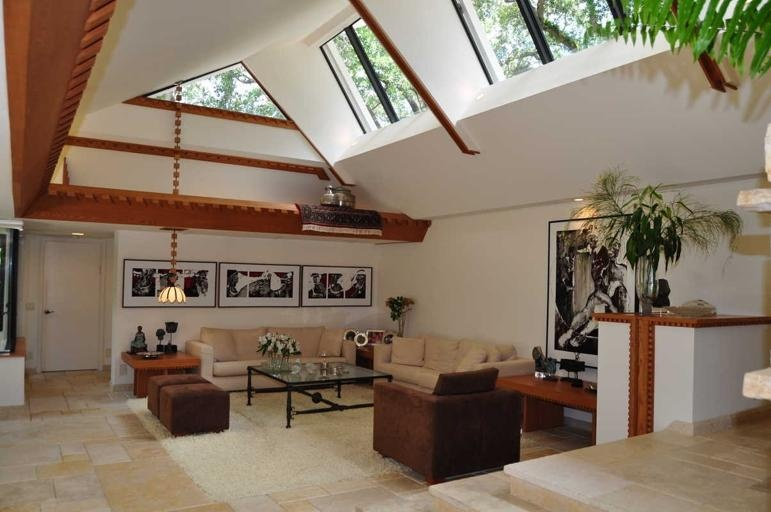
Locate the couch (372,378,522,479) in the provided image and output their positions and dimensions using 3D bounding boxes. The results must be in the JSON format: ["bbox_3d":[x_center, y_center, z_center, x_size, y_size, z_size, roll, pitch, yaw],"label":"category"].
[{"bbox_3d":[0.574,1.792,5.708,1.146,0.851,1.094,2,-2,-32],"label":"couch"}]

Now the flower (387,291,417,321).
[{"bbox_3d":[0.294,1.012,10.193,0.486,0.478,0.582,6,0,8],"label":"flower"}]

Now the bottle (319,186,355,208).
[{"bbox_3d":[-0.826,-0.996,8.942,0.443,0.273,0.432,1,-1,0],"label":"bottle"}]

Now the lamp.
[{"bbox_3d":[-3.554,-0.950,8.651,0.416,3.646,1.557,1,0,-22],"label":"lamp"}]

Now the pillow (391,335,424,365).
[{"bbox_3d":[0.390,1.712,9.211,0.484,0.330,0.184,-2,-7,28],"label":"pillow"}]

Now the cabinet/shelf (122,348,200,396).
[{"bbox_3d":[-3.679,1.815,8.385,0.903,0.515,0.886,2,-4,-29],"label":"cabinet/shelf"}]

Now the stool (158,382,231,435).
[{"bbox_3d":[-2.440,1.999,6.723,0.854,0.590,0.423,-4,-2,44],"label":"stool"}]

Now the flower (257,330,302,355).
[{"bbox_3d":[-1.732,1.414,8.383,0.643,0.378,0.600,5,-6,-8],"label":"flower"}]

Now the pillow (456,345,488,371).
[{"bbox_3d":[1.342,1.604,7.756,0.363,0.276,0.537,1,0,-13],"label":"pillow"}]

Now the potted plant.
[{"bbox_3d":[3.035,-0.207,5.700,1.642,1.361,1.548,3,1,-2],"label":"potted plant"}]

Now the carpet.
[{"bbox_3d":[-1.380,2.330,6.417,2.425,0.082,3.360,1,0,-36],"label":"carpet"}]
